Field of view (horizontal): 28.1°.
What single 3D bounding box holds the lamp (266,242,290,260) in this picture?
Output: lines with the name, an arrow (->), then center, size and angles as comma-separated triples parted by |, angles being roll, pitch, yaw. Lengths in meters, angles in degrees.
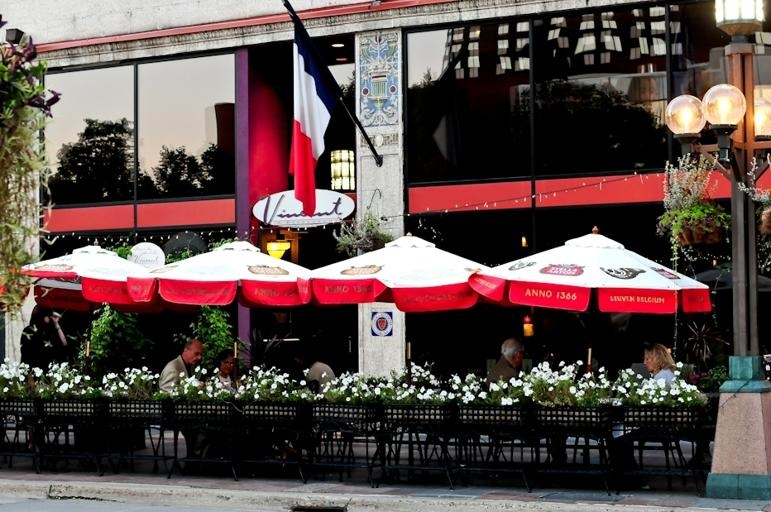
lamp -> -2.306, -0.104, 32.619 | 0.386, 0.299, 0.390 | 0, 0, -33

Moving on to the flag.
flag -> -1.503, -2.567, 29.499 | 0.518, 3.557, 0.947 | -6, -5, 43

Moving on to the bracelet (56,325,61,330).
bracelet -> -7.361, 1.592, 34.249 | 0.085, 0.086, 0.085 | -12, -4, 13

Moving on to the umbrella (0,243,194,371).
umbrella -> -5.486, 1.006, 27.417 | 2.169, 0.992, 2.244 | -5, 6, -36

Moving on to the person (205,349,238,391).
person -> -2.961, 2.032, 27.823 | 0.723, 0.719, 0.372 | 3, 4, -29

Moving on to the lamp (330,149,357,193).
lamp -> -0.960, -1.815, 32.719 | 0.519, 0.794, 0.534 | -1, 4, 16

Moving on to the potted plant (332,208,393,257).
potted plant -> -0.560, -0.368, 31.754 | 0.959, 0.697, 1.021 | -7, -11, -7
